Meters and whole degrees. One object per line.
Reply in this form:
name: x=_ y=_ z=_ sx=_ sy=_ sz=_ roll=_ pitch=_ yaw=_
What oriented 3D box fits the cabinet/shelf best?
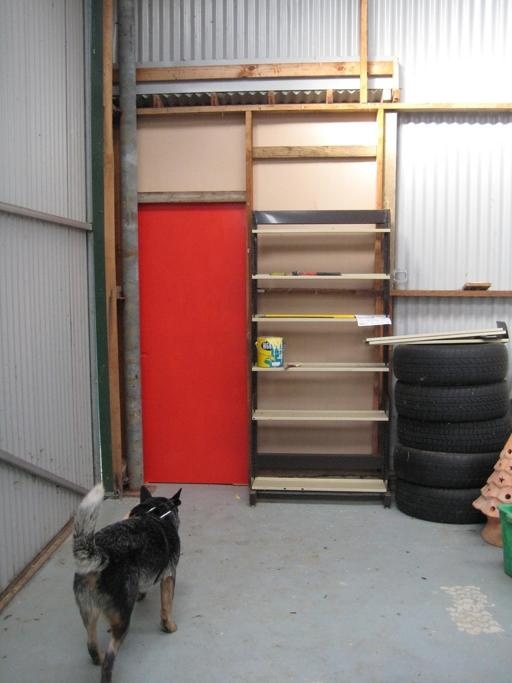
cabinet/shelf: x=0.442 y=-0.235 z=4.739 sx=1.005 sy=2.540 sz=0.723 roll=0 pitch=11 yaw=3
